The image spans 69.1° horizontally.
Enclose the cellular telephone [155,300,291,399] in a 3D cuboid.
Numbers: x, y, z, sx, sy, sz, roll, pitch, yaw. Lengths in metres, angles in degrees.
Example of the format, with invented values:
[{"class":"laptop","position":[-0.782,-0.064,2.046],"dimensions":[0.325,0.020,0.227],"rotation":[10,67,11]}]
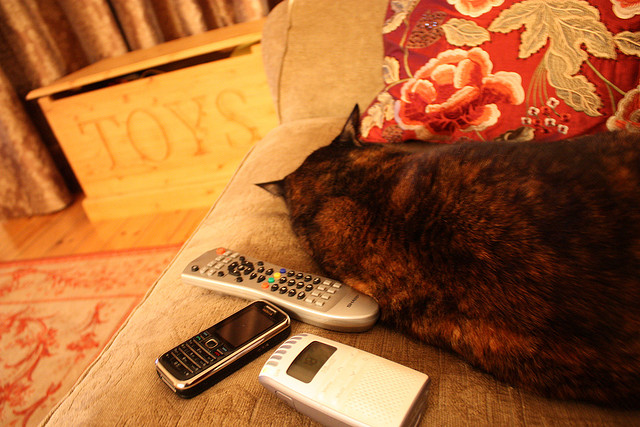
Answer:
[{"class":"cellular telephone","position":[-0.112,0.190,0.653],"dimensions":[0.185,0.036,0.090],"rotation":[-23,42,-22]}]

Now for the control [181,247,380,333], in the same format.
[{"class":"control","position":[-0.095,0.126,0.736],"dimensions":[0.361,0.037,0.094],"rotation":[10,37,25]}]
